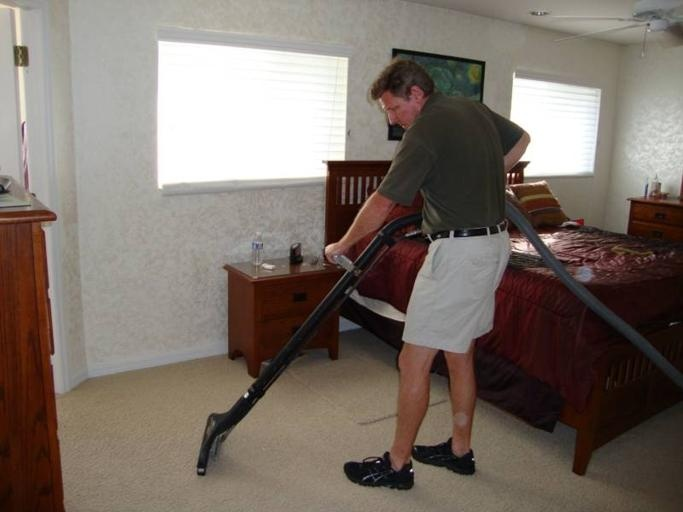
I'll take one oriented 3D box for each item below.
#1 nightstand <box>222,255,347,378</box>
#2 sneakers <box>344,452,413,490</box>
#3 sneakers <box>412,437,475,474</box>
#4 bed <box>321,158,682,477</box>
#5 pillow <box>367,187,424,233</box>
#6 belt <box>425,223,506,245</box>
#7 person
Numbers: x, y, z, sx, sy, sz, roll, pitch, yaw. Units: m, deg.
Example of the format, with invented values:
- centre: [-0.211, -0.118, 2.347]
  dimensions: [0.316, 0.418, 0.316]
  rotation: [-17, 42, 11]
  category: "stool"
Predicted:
- centre: [-0.417, 0.417, 3.862]
  dimensions: [0.729, 0.701, 0.523]
  rotation: [-7, 13, -38]
  category: "nightstand"
- centre: [0.188, 1.067, 2.722]
  dimensions: [0.351, 0.165, 0.148]
  rotation: [6, 8, 9]
  category: "sneakers"
- centre: [0.532, 1.046, 2.867]
  dimensions: [0.349, 0.164, 0.134]
  rotation: [10, 10, 28]
  category: "sneakers"
- centre: [0.974, 0.285, 3.855]
  dimensions: [1.566, 1.408, 2.100]
  rotation: [-12, 24, -31]
  category: "bed"
- centre: [0.413, -0.365, 3.929]
  dimensions: [0.378, 0.244, 0.386]
  rotation: [-5, 17, -8]
  category: "pillow"
- centre: [0.578, -0.101, 2.465]
  dimensions: [0.368, 0.098, 0.164]
  rotation: [1, 14, 0]
  category: "belt"
- centre: [0.449, 0.199, 2.599]
  dimensions: [0.929, 1.866, 0.429]
  rotation: [-7, 16, -30]
  category: "person"
